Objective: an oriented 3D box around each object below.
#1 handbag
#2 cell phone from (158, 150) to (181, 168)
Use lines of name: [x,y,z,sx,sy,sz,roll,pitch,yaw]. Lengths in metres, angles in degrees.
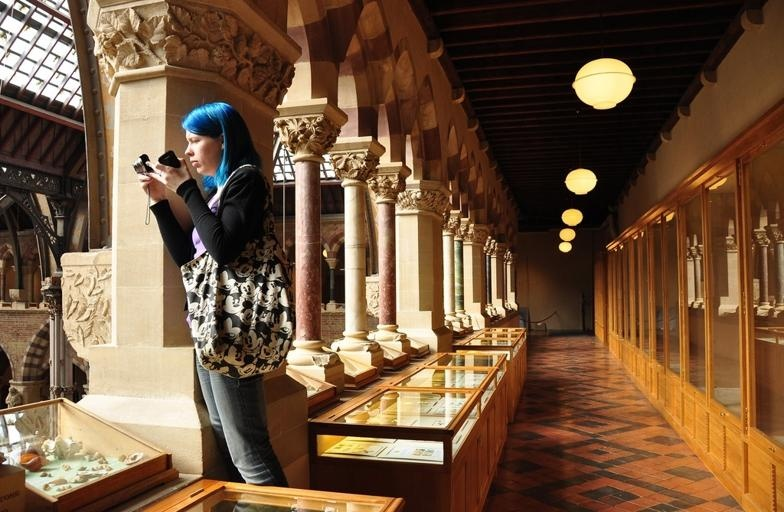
handbag: [-0.864,0.274,3.196,0.660,0.845,0.475,-10,-21,-7]
cell phone: [-1.210,-0.523,3.194,0.100,0.093,0.100,0,-44,40]
